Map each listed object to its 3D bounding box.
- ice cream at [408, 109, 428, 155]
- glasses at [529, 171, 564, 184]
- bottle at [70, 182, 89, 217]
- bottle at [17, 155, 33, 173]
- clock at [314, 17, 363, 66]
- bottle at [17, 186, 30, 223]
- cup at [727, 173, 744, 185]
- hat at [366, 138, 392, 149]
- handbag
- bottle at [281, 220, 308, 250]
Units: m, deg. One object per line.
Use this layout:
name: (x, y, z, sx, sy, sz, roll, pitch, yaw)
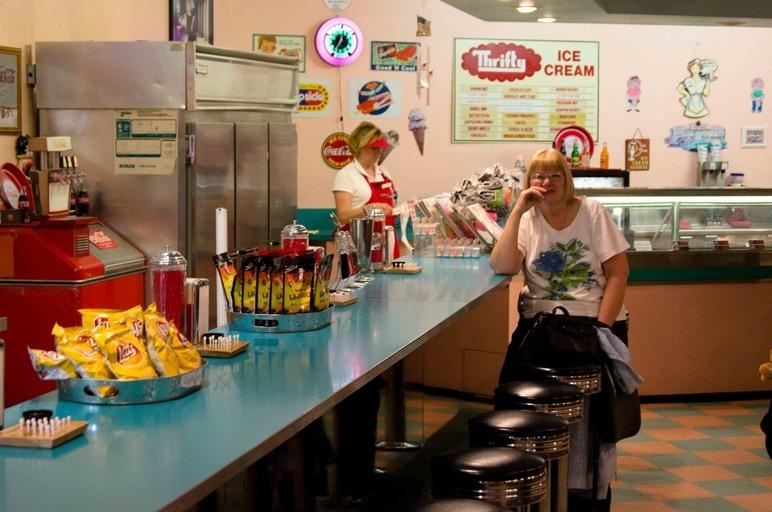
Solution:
ice cream: (0.361, -1.412, 7.075, 0.216, 0.523, 0.132, -3, 10, -5)
glasses: (0.915, -0.451, 3.553, 0.090, 0.022, 0.083, -6, -25, 18)
bottle: (-2.154, -0.403, 4.392, 0.115, 0.224, 0.110, -2, 9, 0)
bottle: (-2.481, -0.637, 4.293, 0.061, 0.128, 0.133, -1, 9, 6)
clock: (-0.561, -2.399, 6.952, 0.520, 0.444, 0.066, 13, 6, -8)
bottle: (-2.258, -0.328, 3.887, 0.061, 0.206, 0.253, -7, 11, -30)
cup: (4.125, -0.905, 7.366, 0.192, 0.131, 0.185, 0, -2, 0)
hat: (-0.032, -0.903, 4.996, 0.161, 0.075, 0.254, 3, 10, 28)
handbag: (0.986, 0.371, 3.343, 0.426, 0.161, 0.482, 20, 21, 28)
bottle: (-0.444, -0.108, 3.061, 0.161, 0.157, 0.150, 0, 5, -4)
